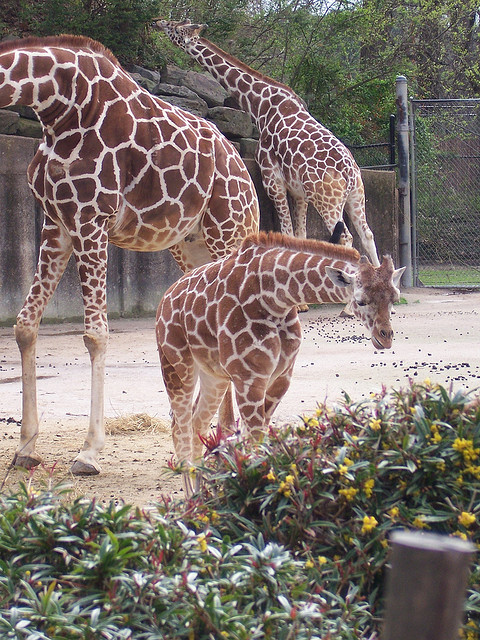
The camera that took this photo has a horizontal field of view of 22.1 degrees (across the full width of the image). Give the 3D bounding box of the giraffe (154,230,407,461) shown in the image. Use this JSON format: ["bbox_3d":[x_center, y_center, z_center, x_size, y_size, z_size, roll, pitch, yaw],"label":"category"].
[{"bbox_3d":[0.114,0.143,4.936,0.389,0.956,1.270,-5,5,-42],"label":"giraffe"}]
